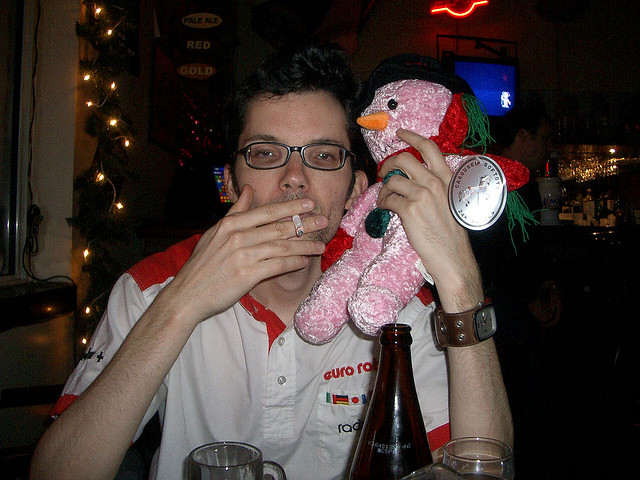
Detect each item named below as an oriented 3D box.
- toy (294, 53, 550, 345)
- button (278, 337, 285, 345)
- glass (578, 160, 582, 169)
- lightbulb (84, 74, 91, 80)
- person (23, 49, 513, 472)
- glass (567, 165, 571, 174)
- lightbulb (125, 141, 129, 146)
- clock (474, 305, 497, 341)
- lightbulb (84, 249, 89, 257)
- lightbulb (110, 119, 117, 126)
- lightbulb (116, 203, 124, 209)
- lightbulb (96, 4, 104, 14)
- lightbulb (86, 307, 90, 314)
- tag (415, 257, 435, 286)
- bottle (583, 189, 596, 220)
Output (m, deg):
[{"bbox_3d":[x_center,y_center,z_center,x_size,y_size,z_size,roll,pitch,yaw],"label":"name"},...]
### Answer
[{"bbox_3d":[0.395,-0.028,2.280,0.854,1.134,0.747,8,-29,41],"label":"toy"},{"bbox_3d":[-0.154,0.402,2.272,0.026,0.024,0.004,3,-1,-17],"label":"button"},{"bbox_3d":[2.354,-0.678,5.111,0.021,0.021,0.084,-11,-42,24],"label":"glass"},{"bbox_3d":[-1.459,-1.016,3.547,0.022,0.030,0.041,3,-1,-39],"label":"lightbulb"},{"bbox_3d":[-0.106,0.065,2.179,1.616,1.451,0.805,3,-1,16],"label":"person"},{"bbox_3d":[2.257,-0.637,5.112,0.027,0.083,0.031,2,-1,20],"label":"glass"},{"bbox_3d":[-1.288,-0.642,3.774,0.016,0.044,0.021,-14,-17,21],"label":"lightbulb"},{"bbox_3d":[0.609,0.302,2.079,0.109,0.087,0.034,3,-1,-29],"label":"clock"},{"bbox_3d":[-1.484,0.077,3.590,0.032,0.047,0.014,2,-1,26],"label":"lightbulb"},{"bbox_3d":[-1.335,-0.762,3.656,0.030,0.032,0.028,-28,34,-23],"label":"lightbulb"},{"bbox_3d":[-1.322,-0.224,3.729,0.017,0.046,0.058,-14,-12,-2],"label":"lightbulb"},{"bbox_3d":[-1.371,-1.433,3.525,0.033,0.039,0.037,2,0,15],"label":"lightbulb"},{"bbox_3d":[-1.463,0.439,3.564,0.019,0.031,0.009,-4,-4,6],"label":"lightbulb"},{"bbox_3d":[0.383,0.114,2.067,0.039,0.123,0.028,-36,21,-14],"label":"tag"},{"bbox_3d":[2.027,-0.268,4.253,0.082,0.256,0.573,2,-1,24],"label":"bottle"}]
